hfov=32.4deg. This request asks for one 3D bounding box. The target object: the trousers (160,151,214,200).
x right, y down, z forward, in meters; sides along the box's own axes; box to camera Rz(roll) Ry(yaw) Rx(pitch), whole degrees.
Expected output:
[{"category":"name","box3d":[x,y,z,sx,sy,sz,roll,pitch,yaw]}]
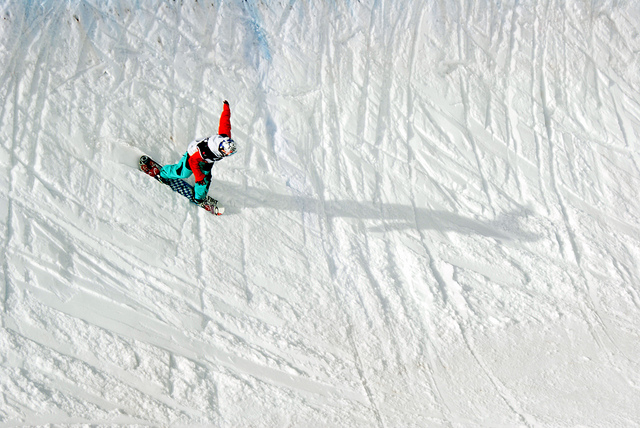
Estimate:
[{"category":"trousers","box3d":[-2.682,-0.839,22.515,1.157,0.709,1.175,6,108,1]}]

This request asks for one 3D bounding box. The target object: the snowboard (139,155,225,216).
[{"category":"snowboard","box3d":[-2.905,-0.548,22.808,1.977,0.342,0.345,29,94,-16]}]
